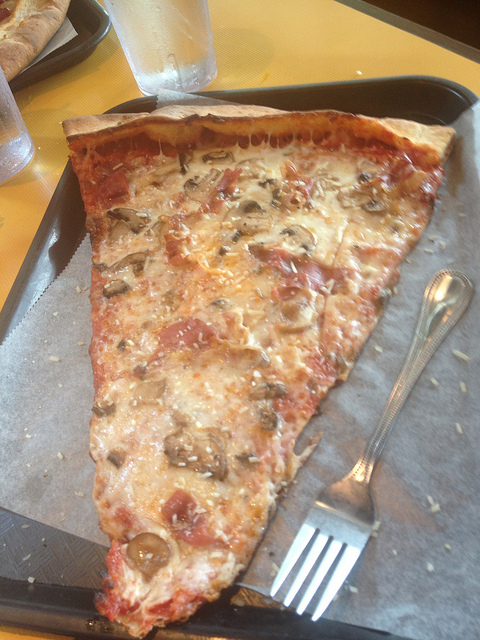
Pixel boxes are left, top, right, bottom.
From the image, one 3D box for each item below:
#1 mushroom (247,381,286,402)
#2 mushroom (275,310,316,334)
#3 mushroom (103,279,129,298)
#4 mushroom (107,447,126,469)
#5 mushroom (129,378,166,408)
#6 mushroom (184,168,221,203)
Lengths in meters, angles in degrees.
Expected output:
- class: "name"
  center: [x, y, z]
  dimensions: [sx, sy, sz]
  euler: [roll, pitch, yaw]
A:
- class: "mushroom"
  center: [0.046, 0.130, 1.068]
  dimensions: [0.069, 0.011, 0.036]
  euler: [-7, 64, -1]
- class: "mushroom"
  center: [0.109, 0.011, 1.127]
  dimensions: [0.084, 0.014, 0.035]
  euler: [-23, 65, -9]
- class: "mushroom"
  center: [-0.266, -0.066, 1.266]
  dimensions: [0.052, 0.014, 0.035]
  euler: [-25, 67, -9]
- class: "mushroom"
  center: [-0.218, 0.244, 1.048]
  dimensions: [0.037, 0.015, 0.033]
  euler: [37, 71, 19]
- class: "mushroom"
  center: [-0.170, 0.138, 1.082]
  dimensions: [0.069, 0.018, 0.047]
  euler: [-5, 64, 1]
- class: "mushroom"
  center: [-0.080, -0.302, 1.360]
  dimensions: [0.079, 0.026, 0.077]
  euler: [32, 71, 29]
